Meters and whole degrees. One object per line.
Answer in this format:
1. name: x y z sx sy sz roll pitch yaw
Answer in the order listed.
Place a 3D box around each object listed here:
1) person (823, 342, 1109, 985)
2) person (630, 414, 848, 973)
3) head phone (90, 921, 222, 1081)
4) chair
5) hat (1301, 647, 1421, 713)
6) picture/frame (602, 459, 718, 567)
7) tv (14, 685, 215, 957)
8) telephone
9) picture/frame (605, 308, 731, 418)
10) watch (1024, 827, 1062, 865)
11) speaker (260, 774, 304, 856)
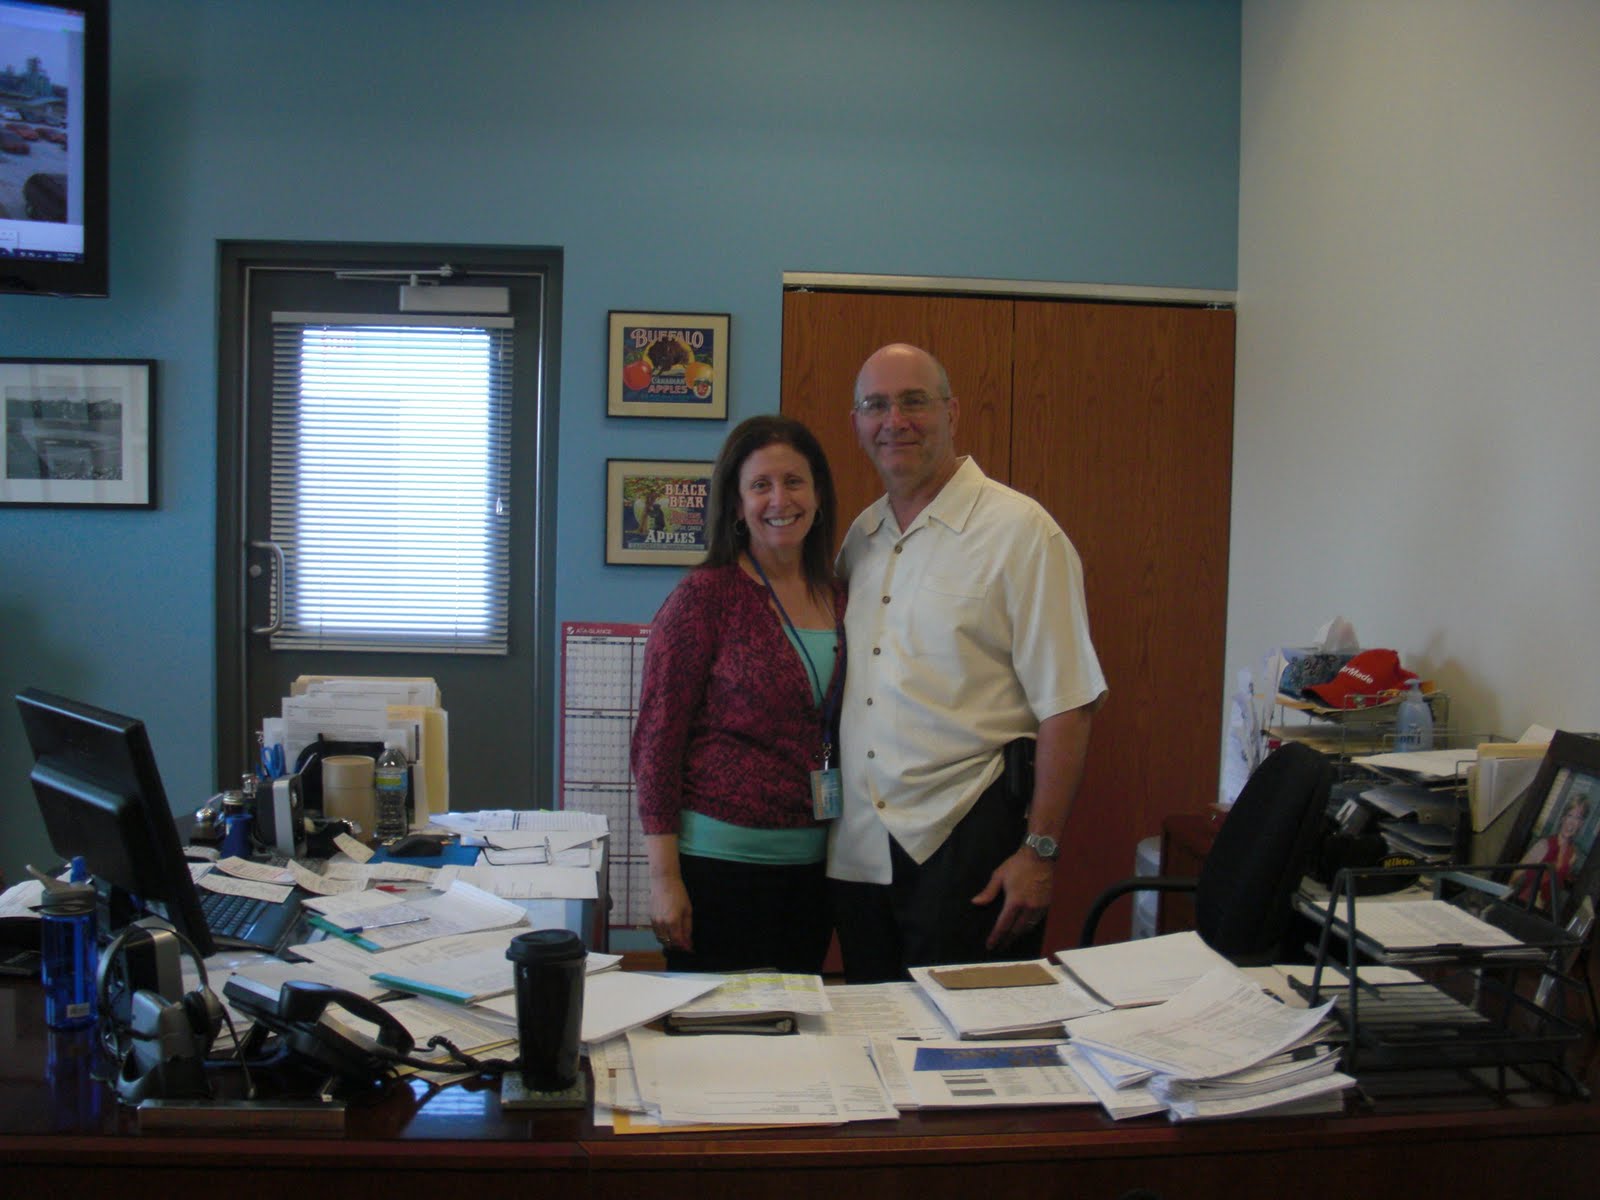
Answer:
1. person: 0.360 0.141 2.964 0.608 1.410 0.415 -1 6 0
2. person: -0.125 0.216 2.952 0.447 1.223 0.297 -1 6 1
3. head phone: -1.082 0.677 2.221 0.211 0.281 0.143 -3 -11 -17
4. chair: 0.993 0.531 2.886 0.234 0.448 0.366 -1 6 -2
5. hat: 1.447 0.201 3.423 0.217 0.093 0.153 -6 5 -15
6. picture/frame: -0.467 -0.293 4.317 0.400 0.354 0.039 0 2 -1
7. tv: -1.448 0.458 2.837 0.192 0.457 0.632 -18 21 -42
8. telephone: -0.805 0.739 2.201 0.209 0.099 0.207 25 -2 -28
9. picture/frame: -0.459 -0.798 4.439 0.352 0.316 0.028 0 3 -2
10. watch: 0.519 0.534 2.872 0.078 0.052 0.077 23 -20 -29
11. speaker: -1.230 0.495 3.140 0.114 0.176 0.123 -6 19 -29
